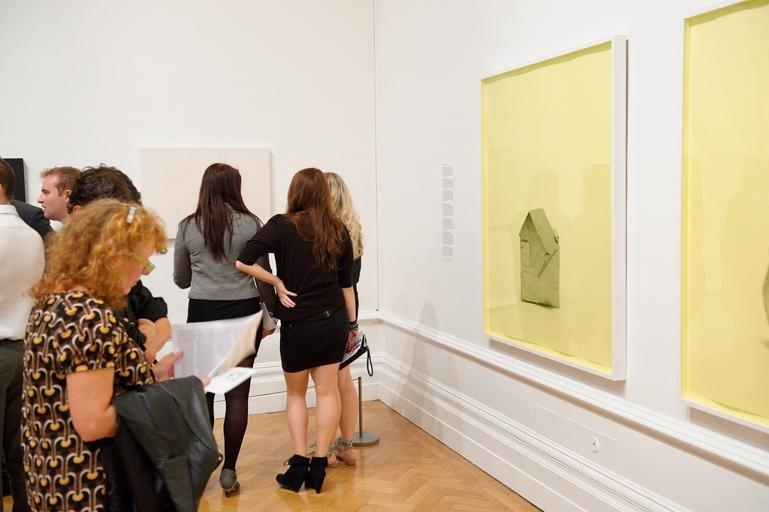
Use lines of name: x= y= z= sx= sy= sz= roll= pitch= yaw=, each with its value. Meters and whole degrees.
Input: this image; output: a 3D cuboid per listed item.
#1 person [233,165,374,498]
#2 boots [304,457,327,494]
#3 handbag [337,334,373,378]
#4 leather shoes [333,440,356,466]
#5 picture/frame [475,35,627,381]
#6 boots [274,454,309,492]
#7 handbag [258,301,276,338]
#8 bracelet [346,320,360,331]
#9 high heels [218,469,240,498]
person: x=-0.584 y=0.575 z=4.341 sx=0.870 sy=2.524 sz=0.493 roll=-8 pitch=10 yaw=-39
boots: x=-0.534 y=1.700 z=4.227 sx=0.108 sy=0.146 sz=0.358 roll=4 pitch=3 yaw=-10
handbag: x=-0.217 y=0.954 z=4.741 sx=0.145 sy=0.370 sz=0.497 roll=22 pitch=-41 yaw=-10
leather shoes: x=-0.351 y=1.684 z=4.670 sx=0.108 sy=0.130 sz=0.322 roll=0 pitch=3 yaw=-12
picture/frame: x=1.152 y=-0.334 z=3.760 sx=0.248 sy=2.070 sz=1.268 roll=-6 pitch=9 yaw=-28
boots: x=-0.720 y=1.708 z=4.343 sx=0.166 sy=0.272 sz=0.376 roll=10 pitch=-1 yaw=-34
handbag: x=-0.841 y=0.479 z=4.103 sx=0.087 sy=0.249 sz=0.175 roll=-20 pitch=6 yaw=-11
bracelet: x=-0.270 y=0.594 z=4.676 sx=0.071 sy=0.099 sz=0.099 roll=-3 pitch=4 yaw=3
high heels: x=-1.204 y=1.768 z=4.214 sx=0.094 sy=0.134 sz=0.250 roll=0 pitch=0 yaw=-9
